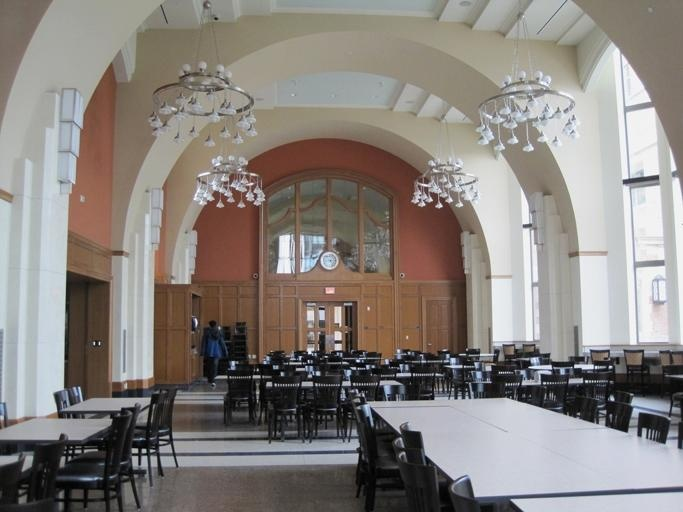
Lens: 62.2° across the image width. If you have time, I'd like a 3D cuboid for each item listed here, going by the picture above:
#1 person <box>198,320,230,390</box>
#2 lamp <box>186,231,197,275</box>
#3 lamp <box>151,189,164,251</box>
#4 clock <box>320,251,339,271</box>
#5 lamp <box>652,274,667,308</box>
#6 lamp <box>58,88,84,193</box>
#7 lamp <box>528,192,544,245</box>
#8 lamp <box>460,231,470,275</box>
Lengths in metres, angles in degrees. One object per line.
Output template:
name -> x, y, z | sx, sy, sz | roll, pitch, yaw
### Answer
person -> -3.557, 2.745, 15.893 | 0.765, 1.913, 0.812 | 0, -1, 15
lamp -> -5.124, -0.132, 19.521 | 0.258, 1.483, 0.793 | 1, -1, -12
lamp -> -4.403, -0.913, 13.445 | 0.260, 1.461, 0.386 | 1, -1, -20
clock -> -0.417, 0.156, 20.297 | 0.699, 0.670, 0.110 | 1, -1, -15
lamp -> 8.208, 0.854, 14.647 | 0.326, 0.761, 0.091 | -1, -2, 44
lamp -> -3.892, -1.665, 8.124 | 0.276, 1.544, 0.325 | 1, -1, -14
lamp -> 5.076, -0.972, 14.689 | 0.208, 1.387, 0.410 | 1, -1, -19
lamp -> 4.457, -0.130, 20.202 | 0.247, 1.516, 0.547 | 1, -1, -2
